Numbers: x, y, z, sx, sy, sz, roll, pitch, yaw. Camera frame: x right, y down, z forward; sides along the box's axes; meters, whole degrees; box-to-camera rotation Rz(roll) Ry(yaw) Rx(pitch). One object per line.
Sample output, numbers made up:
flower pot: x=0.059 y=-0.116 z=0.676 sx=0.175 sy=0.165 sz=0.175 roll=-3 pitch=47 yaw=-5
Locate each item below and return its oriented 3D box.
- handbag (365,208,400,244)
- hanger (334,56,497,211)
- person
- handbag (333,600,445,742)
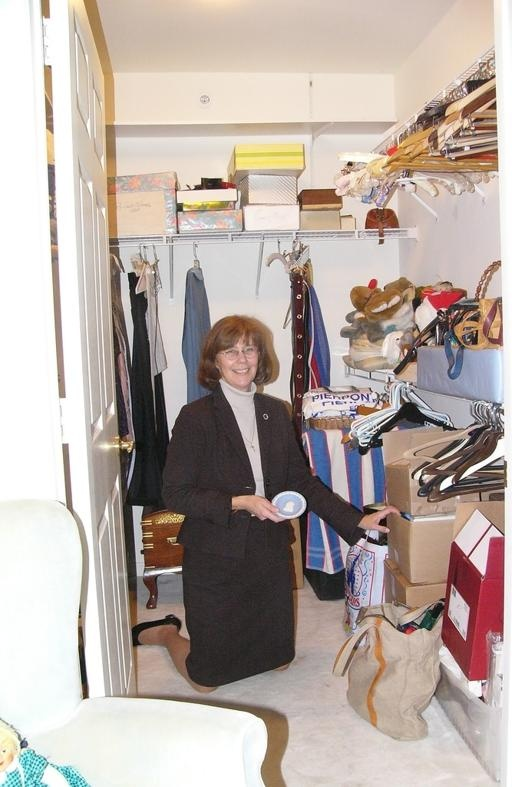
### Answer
handbag: x=0.651 y=-0.891 z=3.081 sx=0.170 sy=0.193 sz=0.320 roll=-5 pitch=5 yaw=13
hanger: x=0.444 y=-0.635 z=1.521 sx=0.181 sy=0.208 sz=0.614 roll=3 pitch=7 yaw=-5
person: x=0.004 y=0.399 z=2.120 sx=1.054 sy=1.277 sz=0.769 roll=1 pitch=3 yaw=17
handbag: x=0.424 y=0.841 z=1.861 sx=0.225 sy=0.385 sz=0.299 roll=5 pitch=3 yaw=-40
